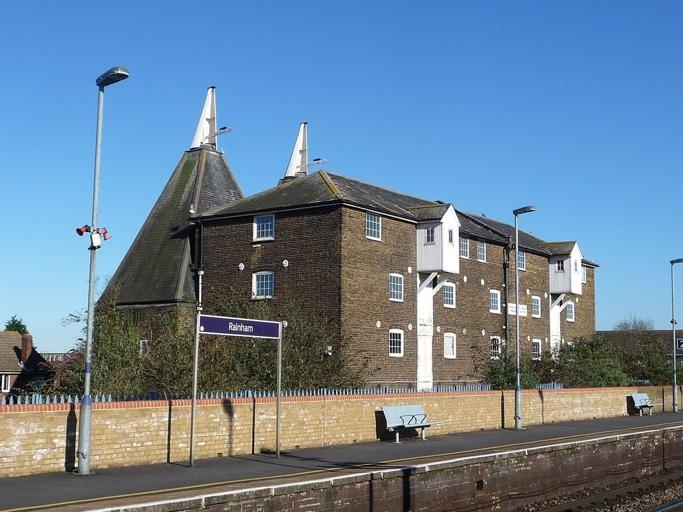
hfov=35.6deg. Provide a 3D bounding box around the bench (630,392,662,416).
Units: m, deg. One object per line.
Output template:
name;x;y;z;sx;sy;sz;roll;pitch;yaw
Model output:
bench;13.979;6.884;49.395;0.869;1.105;3.064;-6;-13;23

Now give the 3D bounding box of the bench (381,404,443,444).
bench;2.261;5.451;34.615;0.957;1.084;2.274;2;-3;41
